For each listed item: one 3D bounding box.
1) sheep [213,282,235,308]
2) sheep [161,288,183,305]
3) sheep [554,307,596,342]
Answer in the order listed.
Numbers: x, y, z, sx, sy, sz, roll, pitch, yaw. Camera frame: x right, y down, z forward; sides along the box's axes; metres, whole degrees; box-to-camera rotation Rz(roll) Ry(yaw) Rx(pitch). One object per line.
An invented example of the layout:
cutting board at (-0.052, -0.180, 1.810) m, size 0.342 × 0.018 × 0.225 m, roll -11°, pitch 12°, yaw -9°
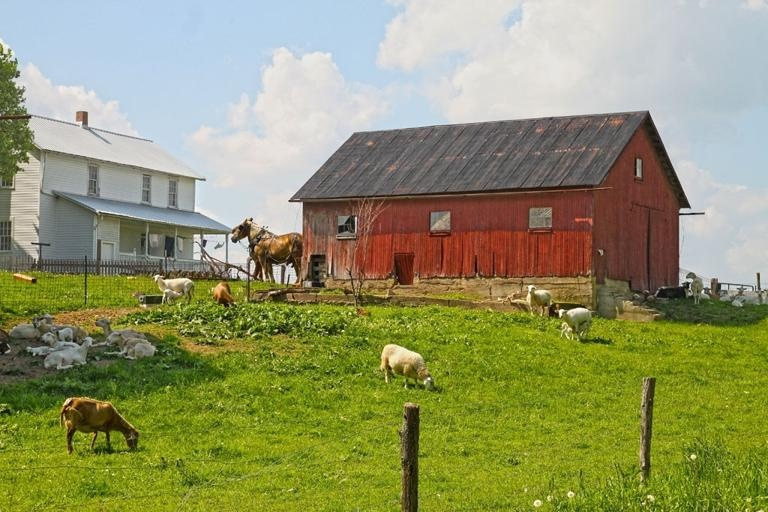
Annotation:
sheep at (-7.046, 1.668, 45.174) m, size 0.853 × 1.124 × 1.918 m, roll 0°, pitch -5°, yaw -10°
sheep at (-9.677, 1.795, 46.514) m, size 0.803 × 0.724 × 1.918 m, roll -1°, pitch -5°, yaw -4°
sheep at (8.072, 2.912, 44.088) m, size 1.341 × 1.434 × 1.299 m, roll -2°, pitch -5°, yaw 2°
